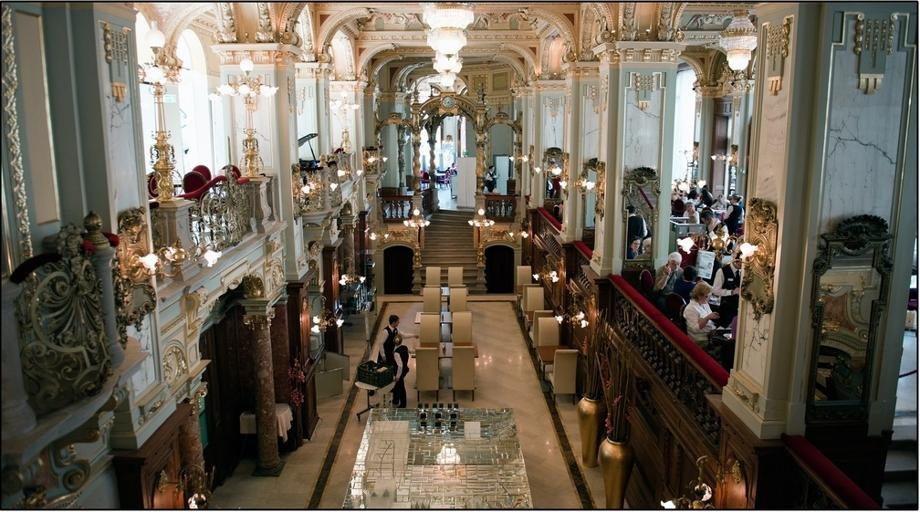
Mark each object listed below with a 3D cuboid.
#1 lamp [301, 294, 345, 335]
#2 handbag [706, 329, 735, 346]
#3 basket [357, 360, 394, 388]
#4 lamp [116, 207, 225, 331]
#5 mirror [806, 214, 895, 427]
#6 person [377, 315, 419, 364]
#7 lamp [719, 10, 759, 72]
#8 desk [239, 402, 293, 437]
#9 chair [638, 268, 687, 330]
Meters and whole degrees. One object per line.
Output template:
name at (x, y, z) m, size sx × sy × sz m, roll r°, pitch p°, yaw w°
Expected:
lamp at (-3.168, 1.325, 14.108) m, size 1.001 × 0.664 × 0.977 m, roll 0°, pitch -14°, yaw -18°
handbag at (3.728, 1.149, 8.665) m, size 0.271 × 0.057 × 0.251 m, roll -4°, pitch 18°, yaw -6°
basket at (-1.789, 2.422, 12.729) m, size 0.546 × 0.340 × 0.703 m, roll 12°, pitch 12°, yaw 13°
lamp at (-3.469, 0.094, 7.116) m, size 0.900 × 1.295 × 1.131 m, roll -3°, pitch 6°, yaw -7°
mirror at (4.390, 0.731, 6.916) m, size 0.904 × 2.398 × 0.209 m, roll -4°, pitch 11°, yaw -14°
person at (-1.504, 2.036, 14.769) m, size 1.077 × 1.707 × 0.741 m, roll -5°, pitch 25°, yaw -11°
lamp at (5.186, -4.059, 11.376) m, size 0.608 × 1.104 × 0.986 m, roll 3°, pitch 11°, yaw 21°
desk at (-3.632, 3.148, 11.447) m, size 0.956 × 0.628 × 0.624 m, roll -3°, pitch 11°, yaw -15°
chair at (3.444, 0.721, 10.299) m, size 0.930 × 1.066 × 0.808 m, roll 2°, pitch 19°, yaw 18°
